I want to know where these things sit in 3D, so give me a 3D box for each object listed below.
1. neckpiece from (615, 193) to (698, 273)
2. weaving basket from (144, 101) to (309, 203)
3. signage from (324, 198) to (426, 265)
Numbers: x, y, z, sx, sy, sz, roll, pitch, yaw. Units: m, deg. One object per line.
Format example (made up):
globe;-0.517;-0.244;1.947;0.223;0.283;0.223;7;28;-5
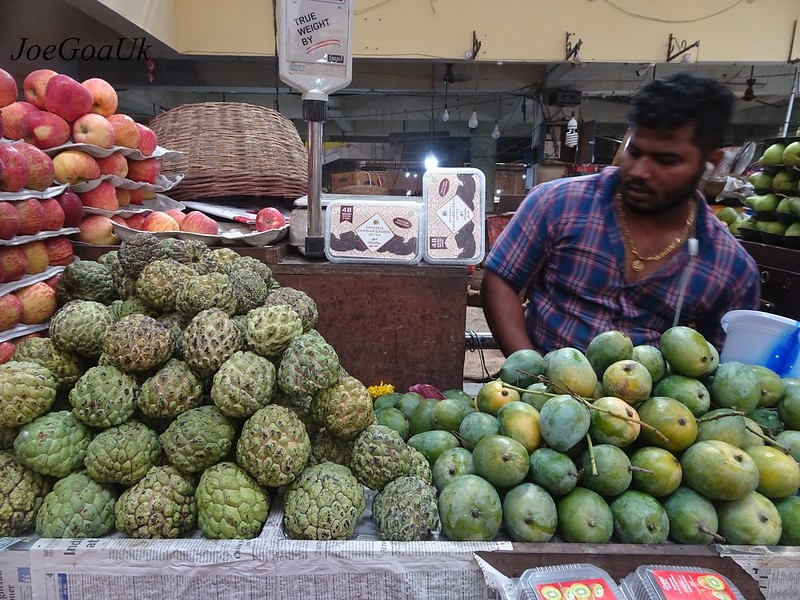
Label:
neckpiece;1.024;-0.298;2.358;0.233;0.320;0.077;-1;19;18
weaving basket;-0.834;-0.760;3.115;0.618;0.317;0.654;-1;-5;0
signage;-0.098;-0.231;2.582;0.371;0.132;0.525;12;-14;27
